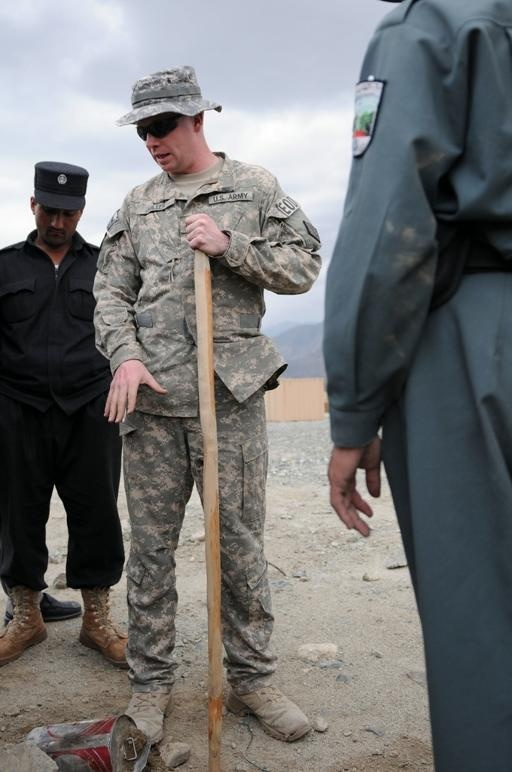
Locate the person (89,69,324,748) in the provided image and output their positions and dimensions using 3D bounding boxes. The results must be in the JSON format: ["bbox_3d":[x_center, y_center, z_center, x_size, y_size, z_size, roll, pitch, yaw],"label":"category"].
[{"bbox_3d":[-0.167,0.069,2.534,0.765,2.213,0.534,-1,6,-2],"label":"person"}]

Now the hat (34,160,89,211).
[{"bbox_3d":[-0.836,-0.879,3.323,0.240,0.144,0.292,-2,27,-24],"label":"hat"}]

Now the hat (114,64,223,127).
[{"bbox_3d":[-0.288,-0.955,2.515,0.359,0.149,0.315,-10,17,-9],"label":"hat"}]

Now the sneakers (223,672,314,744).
[{"bbox_3d":[0.041,1.101,2.649,0.339,0.122,0.134,8,4,41],"label":"sneakers"}]
